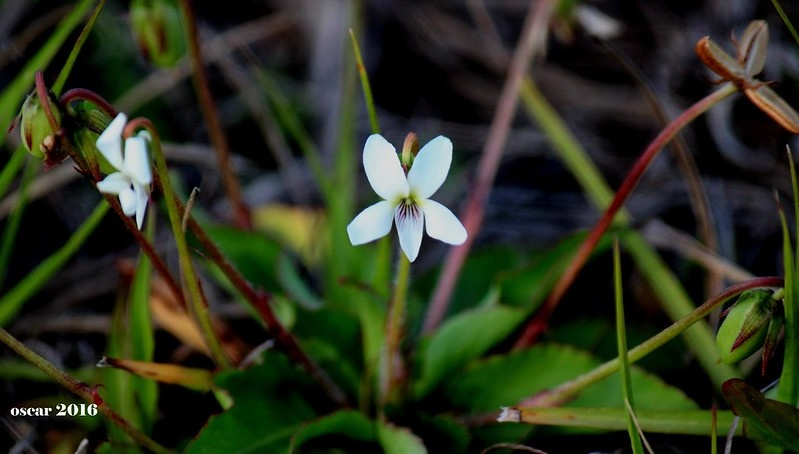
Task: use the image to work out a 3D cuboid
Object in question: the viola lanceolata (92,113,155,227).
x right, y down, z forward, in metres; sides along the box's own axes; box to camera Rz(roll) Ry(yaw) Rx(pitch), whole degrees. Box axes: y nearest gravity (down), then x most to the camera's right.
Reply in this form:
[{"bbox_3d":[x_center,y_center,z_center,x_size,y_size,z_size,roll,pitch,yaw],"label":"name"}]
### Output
[{"bbox_3d":[-0.904,-0.187,2.416,0.177,0.363,0.164,3,-7,-20],"label":"viola lanceolata"}]
